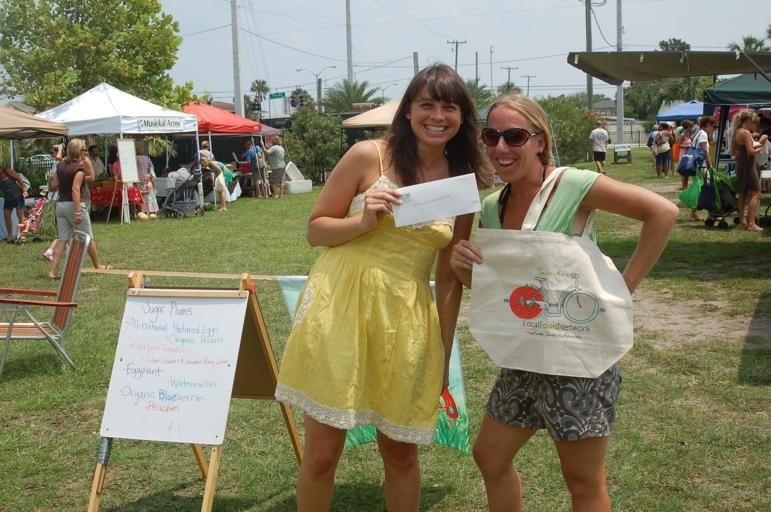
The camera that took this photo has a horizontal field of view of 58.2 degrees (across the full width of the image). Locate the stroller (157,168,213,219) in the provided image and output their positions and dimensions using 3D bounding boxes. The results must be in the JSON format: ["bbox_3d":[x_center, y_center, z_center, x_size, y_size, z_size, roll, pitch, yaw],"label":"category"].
[{"bbox_3d":[-5.118,-1.619,17.956,0.879,1.200,1.396,4,11,21],"label":"stroller"}]

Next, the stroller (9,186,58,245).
[{"bbox_3d":[-7.226,-0.775,14.254,0.841,1.229,0.578,-2,-15,1],"label":"stroller"}]

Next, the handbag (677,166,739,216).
[{"bbox_3d":[6.131,-1.210,13.216,0.890,0.632,0.808,1,8,8],"label":"handbag"}]

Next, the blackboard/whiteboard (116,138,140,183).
[{"bbox_3d":[-6.256,-2.291,16.906,0.119,1.148,0.957,5,13,18],"label":"blackboard/whiteboard"}]

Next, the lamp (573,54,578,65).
[{"bbox_3d":[3.302,-3.419,12.030,0.064,0.124,0.066,-1,-1,3],"label":"lamp"}]
